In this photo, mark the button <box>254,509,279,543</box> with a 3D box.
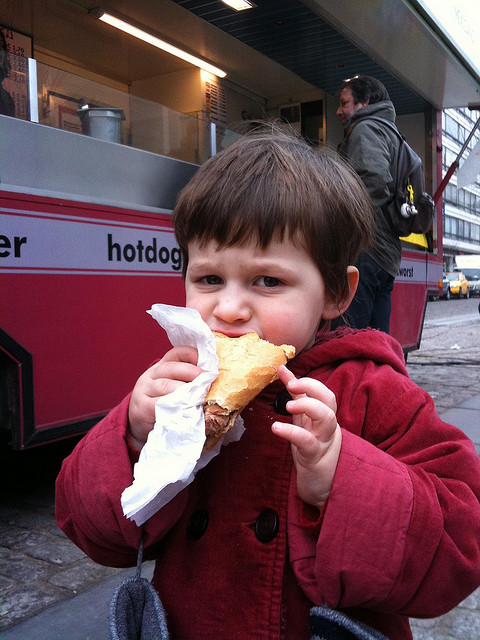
[{"bbox_3d":[0.042,0.328,0.800,0.040,0.042,0.032,4,8,21],"label":"button"}]

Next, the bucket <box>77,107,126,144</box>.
[{"bbox_3d":[-0.746,-1.043,2.670,0.193,0.163,0.191,-3,3,0],"label":"bucket"}]

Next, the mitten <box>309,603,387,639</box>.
[{"bbox_3d":[0.142,0.421,0.684,0.091,0.056,0.030,0,7,-6],"label":"mitten"}]
